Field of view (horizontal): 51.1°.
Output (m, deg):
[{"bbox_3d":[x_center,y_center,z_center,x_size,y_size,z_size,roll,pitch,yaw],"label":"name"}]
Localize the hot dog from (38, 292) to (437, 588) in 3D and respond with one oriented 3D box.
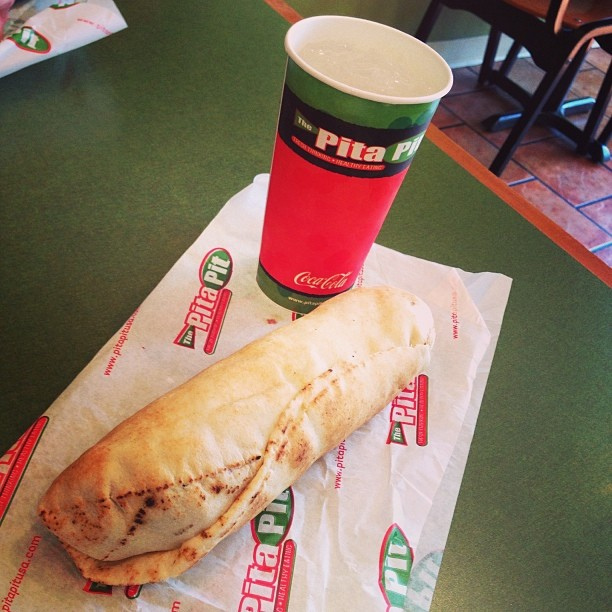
[{"bbox_3d":[-0.043,0.101,0.678,0.168,0.120,0.464,30,46,30],"label":"hot dog"}]
